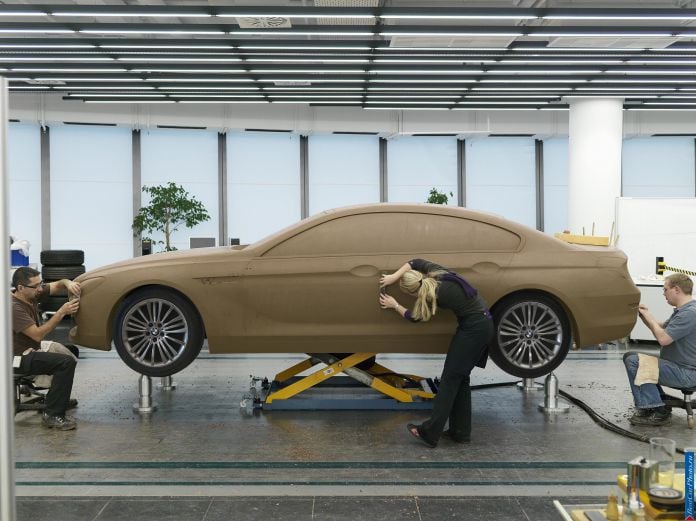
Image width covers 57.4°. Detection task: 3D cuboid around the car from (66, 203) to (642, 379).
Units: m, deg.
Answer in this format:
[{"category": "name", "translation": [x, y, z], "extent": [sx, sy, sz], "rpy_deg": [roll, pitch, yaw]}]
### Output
[{"category": "car", "translation": [-0.014, 0.302, 7.375], "extent": [5.536, 1.563, 2.283], "rpy_deg": [1, 0, 2]}]

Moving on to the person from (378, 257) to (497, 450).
[{"category": "person", "translation": [0.906, 0.889, 6.268], "extent": [1.004, 1.770, 0.706], "rpy_deg": [1, 8, 12]}]

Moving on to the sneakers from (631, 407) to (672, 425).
[{"category": "sneakers", "translation": [3.200, 1.628, 6.727], "extent": [0.506, 0.222, 0.177], "rpy_deg": [2, -2, -12]}]

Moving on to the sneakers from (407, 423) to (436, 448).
[{"category": "sneakers", "translation": [0.703, 1.670, 6.193], "extent": [0.109, 0.129, 0.358], "rpy_deg": [-7, 21, -35]}]

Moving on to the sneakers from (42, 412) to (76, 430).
[{"category": "sneakers", "translation": [-2.961, 1.642, 6.549], "extent": [0.415, 0.180, 0.142], "rpy_deg": [3, 2, -4]}]

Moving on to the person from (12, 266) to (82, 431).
[{"category": "person", "translation": [-3.146, 0.889, 6.708], "extent": [0.684, 1.644, 1.066], "rpy_deg": [-5, 9, -26]}]
